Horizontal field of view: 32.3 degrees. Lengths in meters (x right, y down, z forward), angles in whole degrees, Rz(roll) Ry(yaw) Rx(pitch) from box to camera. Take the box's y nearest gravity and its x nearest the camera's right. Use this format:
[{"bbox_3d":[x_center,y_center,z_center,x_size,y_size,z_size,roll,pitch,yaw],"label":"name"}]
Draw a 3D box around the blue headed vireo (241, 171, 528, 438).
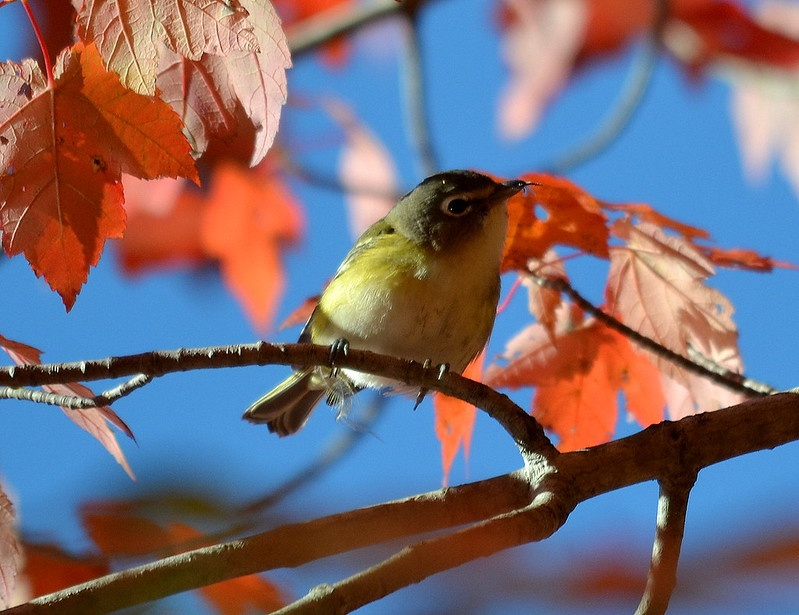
[{"bbox_3d":[-0.044,0.008,4.339,1.036,0.738,0.515,-15,-20,40],"label":"blue headed vireo"}]
